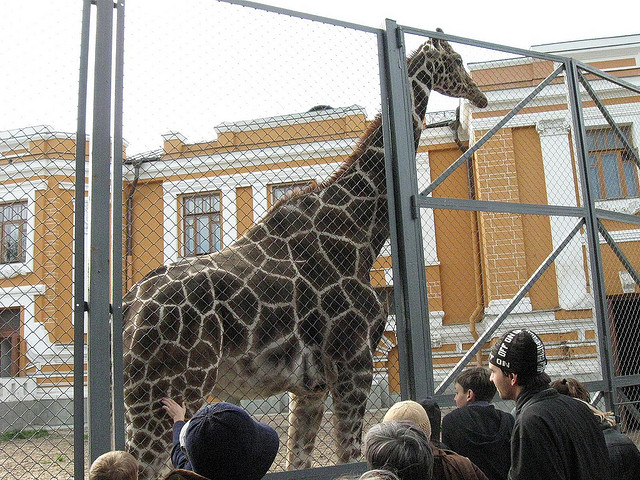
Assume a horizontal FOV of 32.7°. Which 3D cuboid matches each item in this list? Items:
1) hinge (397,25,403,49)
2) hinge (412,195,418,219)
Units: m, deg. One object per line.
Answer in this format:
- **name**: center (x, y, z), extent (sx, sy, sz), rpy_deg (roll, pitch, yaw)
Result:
- **hinge**: center (0.774, -1.947, 10.563), extent (0.042, 0.191, 0.049), rpy_deg (-3, -11, 5)
- **hinge**: center (0.903, -0.309, 10.401), extent (0.050, 0.217, 0.042), rpy_deg (-3, -11, 7)
